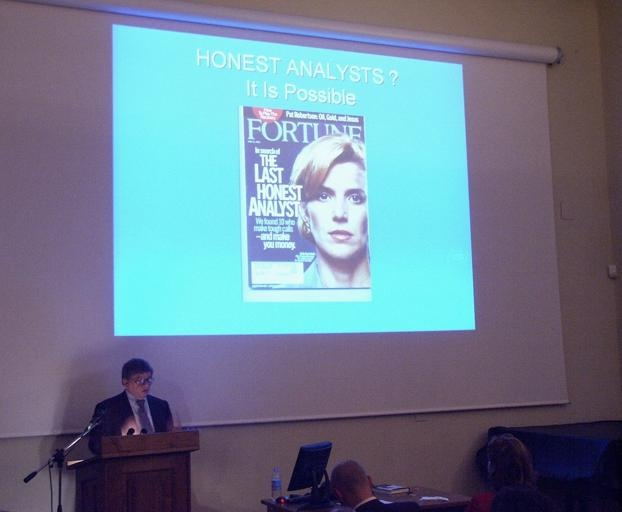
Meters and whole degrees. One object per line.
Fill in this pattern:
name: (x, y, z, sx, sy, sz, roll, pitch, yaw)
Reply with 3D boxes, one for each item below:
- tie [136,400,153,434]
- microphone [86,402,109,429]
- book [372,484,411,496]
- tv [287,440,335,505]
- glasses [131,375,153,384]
tie: (-1.190, 1.148, 4.377, 0.046, 0.221, 0.057, -14, -30, -14)
microphone: (-1.532, 1.147, 4.414, 0.044, 0.241, 0.066, 16, 11, 2)
book: (0.578, 1.713, 4.522, 0.134, 0.038, 0.148, 3, -7, -8)
tv: (-0.008, 1.454, 4.150, 0.299, 0.353, 0.301, -3, -1, -3)
glasses: (-1.195, 0.867, 4.352, 0.083, 0.037, 0.090, 8, -20, -31)
